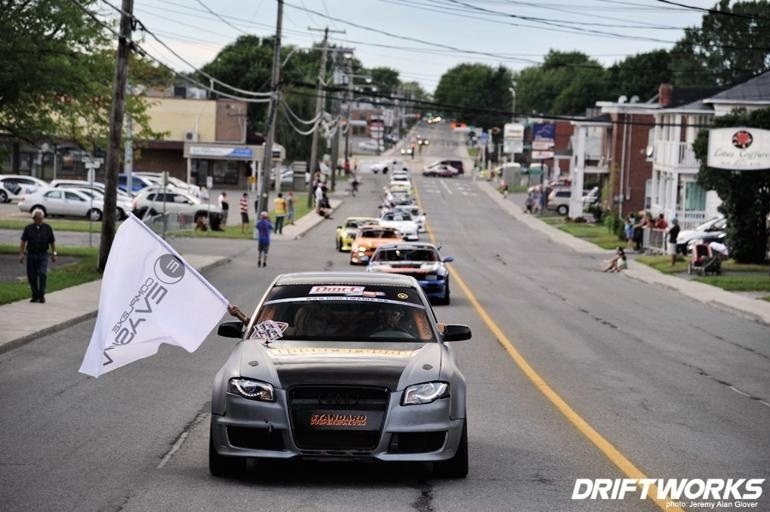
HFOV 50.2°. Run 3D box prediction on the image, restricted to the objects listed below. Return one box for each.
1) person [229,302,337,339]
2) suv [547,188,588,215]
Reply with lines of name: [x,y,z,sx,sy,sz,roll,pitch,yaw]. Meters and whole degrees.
person: [-1.358,0.917,11.436,1.061,0.610,1.110,0,1,-3]
suv: [14.973,-4.701,70.413,3.185,1.581,1.844,-7,10,-3]
